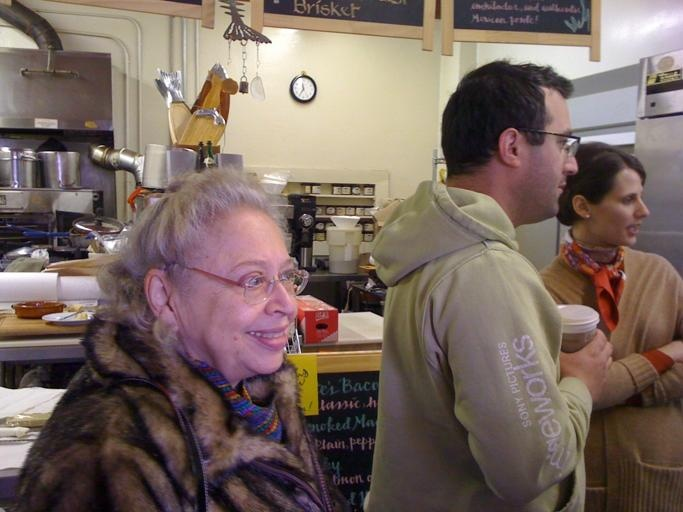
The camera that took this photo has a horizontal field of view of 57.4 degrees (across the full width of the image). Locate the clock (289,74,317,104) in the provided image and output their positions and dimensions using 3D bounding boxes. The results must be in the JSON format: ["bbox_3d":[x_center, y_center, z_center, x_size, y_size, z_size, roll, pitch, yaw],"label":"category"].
[{"bbox_3d":[-0.436,-1.894,7.083,0.307,0.335,0.055,-10,9,-19],"label":"clock"}]

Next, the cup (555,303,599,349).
[{"bbox_3d":[0.709,0.232,1.916,0.164,0.129,0.168,-4,16,1],"label":"cup"}]
